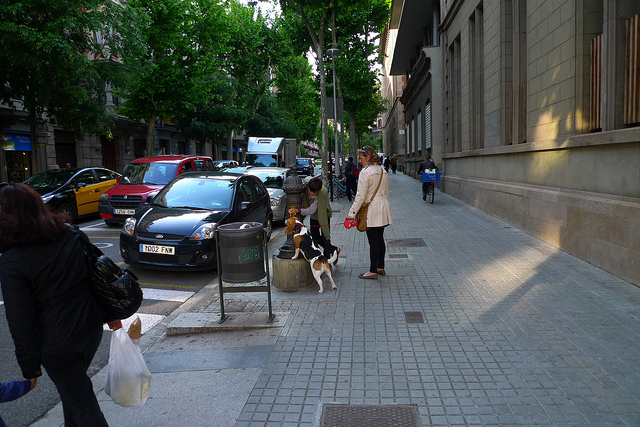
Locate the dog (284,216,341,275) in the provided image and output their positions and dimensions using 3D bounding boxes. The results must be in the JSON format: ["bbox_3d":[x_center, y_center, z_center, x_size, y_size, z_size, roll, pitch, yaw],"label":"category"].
[{"bbox_3d":[-0.188,0.577,7.784,0.341,0.764,1.381,-18,42,-31],"label":"dog"}]

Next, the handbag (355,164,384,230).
[{"bbox_3d":[0.816,-0.224,7.862,0.310,0.925,0.514,6,-1,-23],"label":"handbag"}]

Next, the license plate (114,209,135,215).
[{"bbox_3d":[-5.591,-0.045,13.103,0.786,0.144,0.083,3,12,25],"label":"license plate"}]

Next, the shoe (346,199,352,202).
[{"bbox_3d":[1.348,-0.587,20.995,0.260,0.185,0.102,-1,14,2],"label":"shoe"}]

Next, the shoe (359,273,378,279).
[{"bbox_3d":[0.850,1.105,8.065,0.295,0.123,0.110,4,4,6],"label":"shoe"}]

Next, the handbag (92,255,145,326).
[{"bbox_3d":[-1.871,0.669,4.097,0.523,0.522,0.371,-11,4,4],"label":"handbag"}]

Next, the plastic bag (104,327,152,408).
[{"bbox_3d":[-1.734,1.385,4.097,0.369,0.721,0.214,-6,11,-19],"label":"plastic bag"}]

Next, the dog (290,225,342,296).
[{"bbox_3d":[-0.162,0.595,7.664,0.394,0.783,1.262,-16,45,-30],"label":"dog"}]

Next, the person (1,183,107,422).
[{"bbox_3d":[-2.198,0.789,3.849,0.734,2.108,0.465,-8,12,-27],"label":"person"}]

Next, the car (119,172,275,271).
[{"bbox_3d":[-2.461,0.115,9.818,1.855,1.438,3.118,1,4,15],"label":"car"}]

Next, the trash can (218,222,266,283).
[{"bbox_3d":[-1.123,0.607,6.614,0.732,0.923,0.552,-2,11,4],"label":"trash can"}]

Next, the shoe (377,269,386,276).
[{"bbox_3d":[1.121,1.039,8.183,0.174,0.108,0.088,-9,13,-29],"label":"shoe"}]

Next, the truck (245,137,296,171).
[{"bbox_3d":[-3.065,-3.243,28.723,2.447,3.001,5.727,1,7,7],"label":"truck"}]

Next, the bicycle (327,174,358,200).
[{"bbox_3d":[1.104,-1.149,21.851,1.687,1.086,0.884,-1,11,13],"label":"bicycle"}]

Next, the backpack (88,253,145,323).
[{"bbox_3d":[-1.858,0.662,4.123,0.334,0.610,0.422,-24,10,-2],"label":"backpack"}]
